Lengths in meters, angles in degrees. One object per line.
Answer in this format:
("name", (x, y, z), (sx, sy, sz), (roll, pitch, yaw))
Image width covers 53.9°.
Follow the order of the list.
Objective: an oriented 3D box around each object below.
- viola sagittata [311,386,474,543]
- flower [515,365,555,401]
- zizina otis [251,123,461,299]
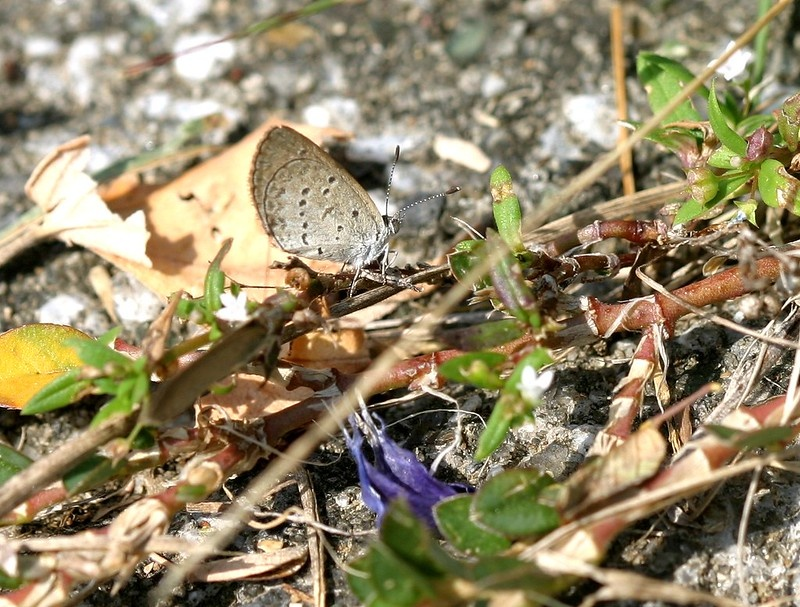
("viola sagittata", (0.021, 0.667, 3.097), (0.519, 0.421, 0.451), (25, 37, 36))
("flower", (0.461, 0.267, 2.676), (0.084, 0.080, 0.136), (8, 53, 39))
("zizina otis", (-0.362, -0.432, 3.576), (0.640, 0.738, 0.259), (-9, 27, -21))
